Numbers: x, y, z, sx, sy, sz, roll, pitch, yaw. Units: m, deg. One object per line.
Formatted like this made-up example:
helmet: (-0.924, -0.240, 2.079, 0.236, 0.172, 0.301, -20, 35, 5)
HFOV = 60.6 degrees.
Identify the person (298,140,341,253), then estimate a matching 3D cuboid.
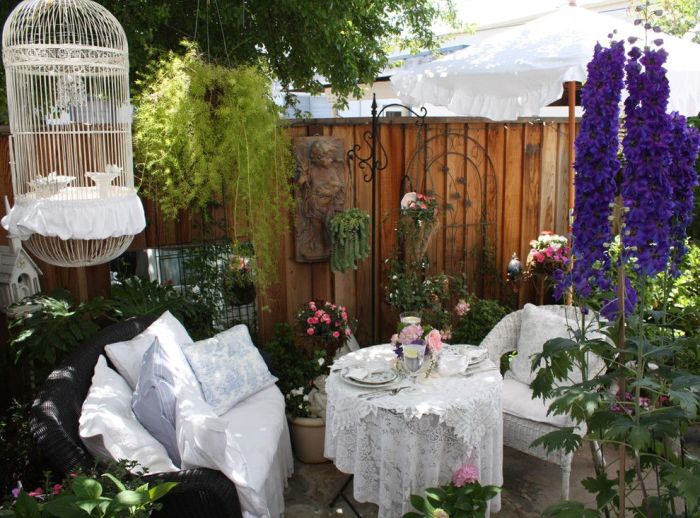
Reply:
person: (-0.258, -0.487, 4.958, 0.428, 1.023, 0.219, -2, 8, -3)

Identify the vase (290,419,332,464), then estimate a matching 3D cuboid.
vase: (-0.317, 1.383, 4.727, 0.302, 0.280, 0.325, 1, 2, 25)

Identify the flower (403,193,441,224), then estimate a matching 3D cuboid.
flower: (0.606, -0.447, 5.267, 0.217, 0.195, 0.304, 1, 7, -23)

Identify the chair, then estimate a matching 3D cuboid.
chair: (1.459, 1.041, 4.565, 0.849, 1.244, 0.844, -6, 13, -42)

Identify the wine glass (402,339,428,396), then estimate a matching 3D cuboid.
wine glass: (0.425, 0.715, 4.015, 0.198, 0.373, 0.224, 0, -1, -4)

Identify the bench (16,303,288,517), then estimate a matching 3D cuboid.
bench: (-1.328, 0.961, 3.484, 0.933, 0.904, 1.386, -7, 9, -34)

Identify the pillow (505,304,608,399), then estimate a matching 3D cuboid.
pillow: (1.619, 0.707, 4.496, 0.621, 0.682, 0.265, -1, 0, 37)
